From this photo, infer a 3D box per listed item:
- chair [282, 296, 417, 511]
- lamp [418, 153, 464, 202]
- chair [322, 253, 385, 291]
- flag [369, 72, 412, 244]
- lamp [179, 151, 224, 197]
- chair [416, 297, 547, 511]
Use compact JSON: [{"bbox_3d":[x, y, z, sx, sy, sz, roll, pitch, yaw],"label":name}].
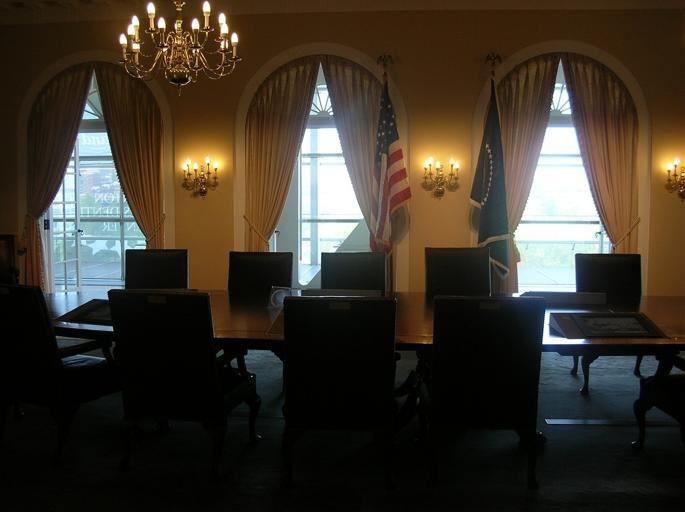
[{"bbox_3d":[-0.013,0.716,3.495,0.785,1.385,0.832,1,8,2],"label":"chair"},{"bbox_3d":[1.176,-0.927,6.971,0.459,0.477,0.166,2,2,10],"label":"lamp"},{"bbox_3d":[0.095,0.139,5.283,0.570,0.332,0.217,1,2,-11],"label":"chair"},{"bbox_3d":[0.572,-1.096,6.867,0.452,2.052,0.352,1,2,2],"label":"flag"},{"bbox_3d":[-1.774,-0.953,7.160,0.419,0.509,0.240,-5,-12,-15],"label":"lamp"},{"bbox_3d":[0.876,0.707,3.503,0.728,1.437,0.826,1,8,5],"label":"chair"}]
